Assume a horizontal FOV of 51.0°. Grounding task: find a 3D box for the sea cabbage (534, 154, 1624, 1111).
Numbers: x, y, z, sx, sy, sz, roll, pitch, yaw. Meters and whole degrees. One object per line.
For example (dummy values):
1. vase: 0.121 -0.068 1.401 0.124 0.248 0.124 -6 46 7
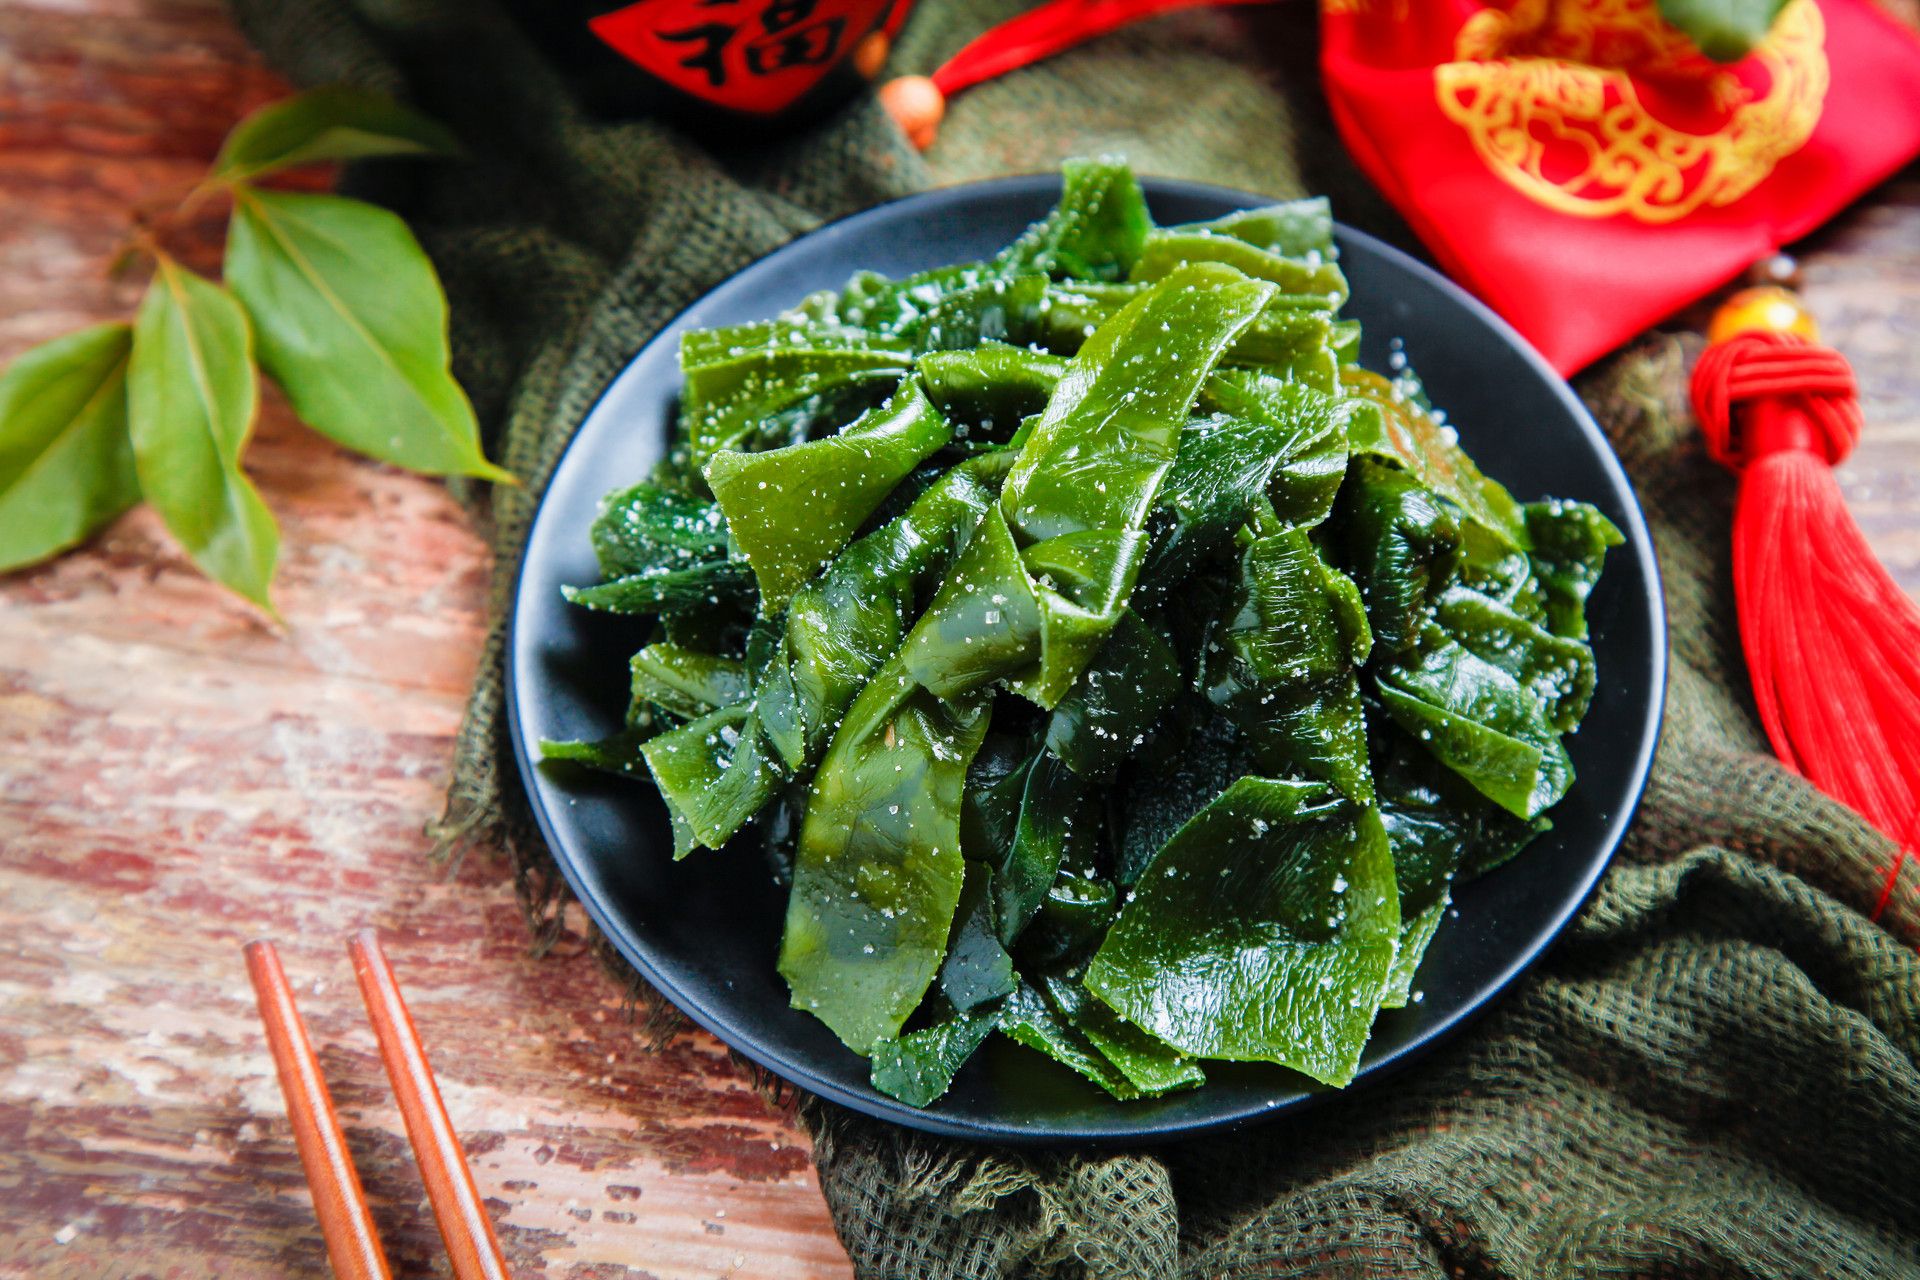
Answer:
1. sea cabbage: 0.113 -0.041 1.790 0.881 0.283 0.871 43 73 10
